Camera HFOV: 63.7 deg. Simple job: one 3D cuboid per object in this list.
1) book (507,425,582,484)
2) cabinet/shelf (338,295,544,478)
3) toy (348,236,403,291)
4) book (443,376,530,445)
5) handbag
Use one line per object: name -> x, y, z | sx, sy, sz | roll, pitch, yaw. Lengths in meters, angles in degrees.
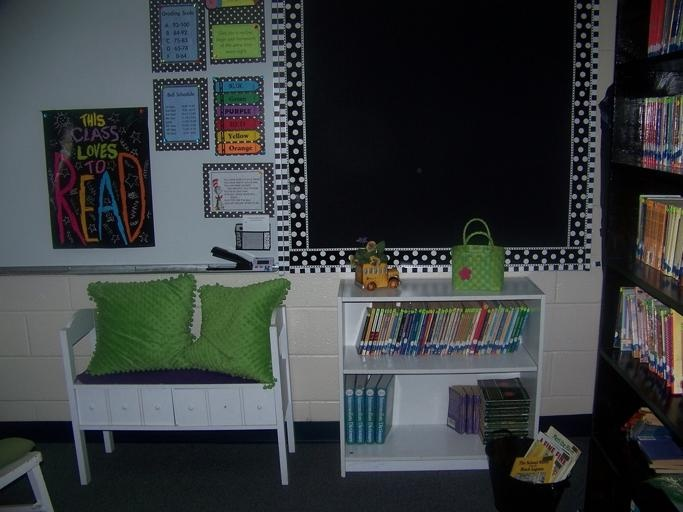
book -> 1.141, 1.134, 3.040 | 0.284, 0.250, 0.340 | 7, 13, 43
cabinet/shelf -> 0.623, 0.802, 3.420 | 0.952, 0.952, 0.334 | -1, 7, 1
toy -> 0.213, 0.062, 3.444 | 0.261, 0.304, 0.218 | -6, 12, -17
book -> 0.945, 0.971, 3.497 | 0.410, 0.158, 0.325 | -2, 16, 1
handbag -> 0.850, -0.014, 3.395 | 0.310, 0.425, 0.323 | 1, 9, 15
